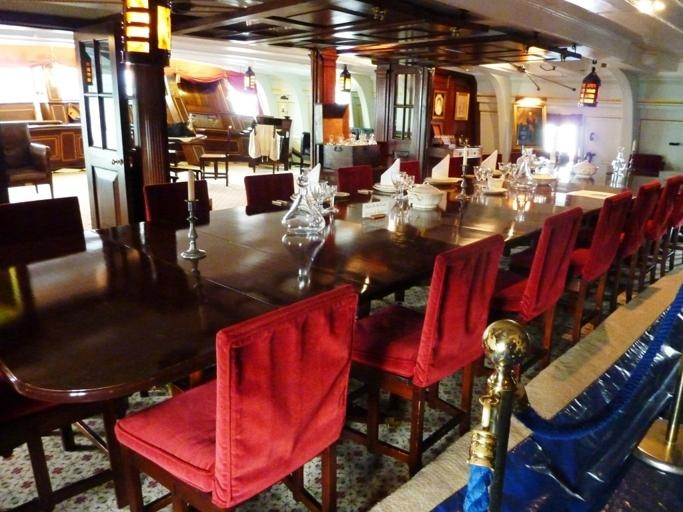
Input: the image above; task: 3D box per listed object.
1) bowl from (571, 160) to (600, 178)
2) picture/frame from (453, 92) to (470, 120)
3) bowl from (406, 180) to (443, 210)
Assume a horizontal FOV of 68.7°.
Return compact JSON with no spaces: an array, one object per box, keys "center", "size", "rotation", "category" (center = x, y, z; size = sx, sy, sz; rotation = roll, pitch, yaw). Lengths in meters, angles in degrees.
[{"center":[2.614,-0.922,5.456],"size":[0.271,0.185,0.260],"rotation":[-2,18,1],"category":"bowl"},{"center":[2.317,-2.945,9.800],"size":[0.044,0.536,0.561],"rotation":[9,20,33],"category":"picture/frame"},{"center":[0.590,-0.438,3.578],"size":[0.223,0.135,0.206],"rotation":[0,11,0],"category":"bowl"}]
